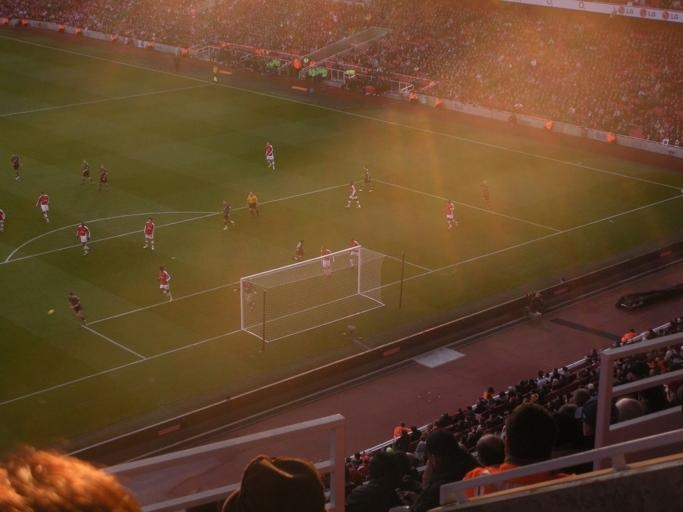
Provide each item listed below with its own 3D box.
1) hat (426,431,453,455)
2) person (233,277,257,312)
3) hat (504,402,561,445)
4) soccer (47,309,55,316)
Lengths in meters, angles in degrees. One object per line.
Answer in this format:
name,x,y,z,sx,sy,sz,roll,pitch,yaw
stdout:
hat,2.426,4.662,24.114,0.546,0.592,0.657,0,17,-1
person,-3.941,1.623,40.773,0.630,1.162,0.828,-2,-28,-5
hat,4.506,4.033,23.208,0.942,1.049,1.080,3,25,0
soccer,-12.348,2.401,41.030,0.233,0.127,0.290,0,6,-34
